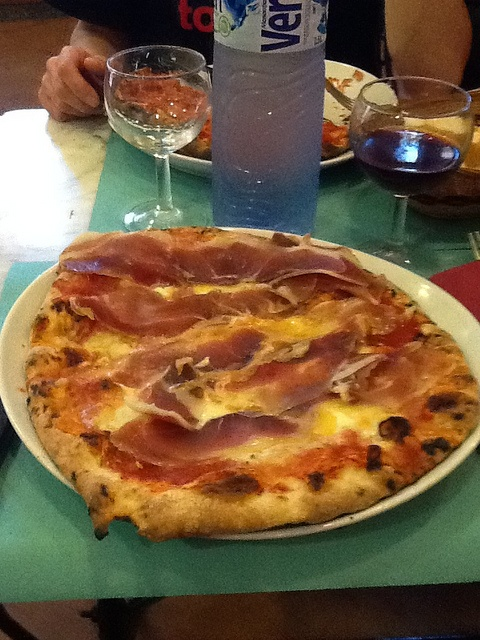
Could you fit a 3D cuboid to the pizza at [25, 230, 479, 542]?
[{"bbox_3d":[0.013,0.069,0.610,0.345,0.041,0.320,-7,35,-12],"label":"pizza"}]
